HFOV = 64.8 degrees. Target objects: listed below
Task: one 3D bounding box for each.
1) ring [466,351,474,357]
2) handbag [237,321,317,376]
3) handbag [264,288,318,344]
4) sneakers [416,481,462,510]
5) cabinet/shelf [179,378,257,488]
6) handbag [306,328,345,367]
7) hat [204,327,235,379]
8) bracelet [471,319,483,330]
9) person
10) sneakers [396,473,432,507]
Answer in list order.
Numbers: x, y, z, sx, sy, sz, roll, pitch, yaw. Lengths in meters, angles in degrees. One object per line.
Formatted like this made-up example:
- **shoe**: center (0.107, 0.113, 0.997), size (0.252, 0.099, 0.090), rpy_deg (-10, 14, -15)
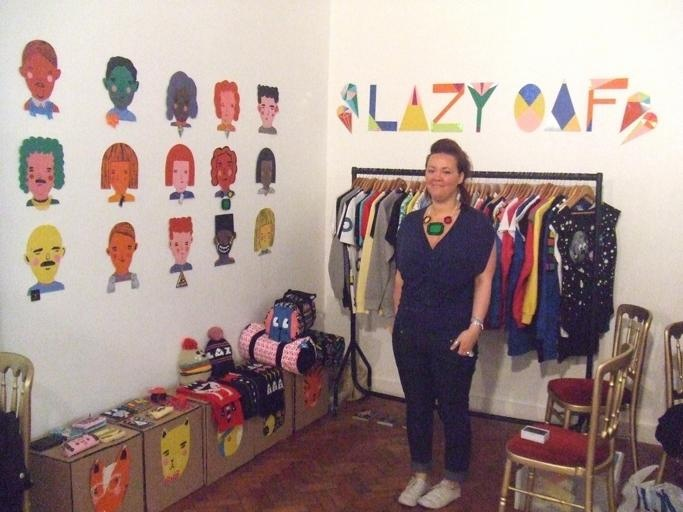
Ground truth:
- **ring**: center (0.709, 0.542, 2.988), size (0.036, 0.018, 0.055), rpy_deg (0, -1, 22)
- **handbag**: center (-0.473, 0.664, 3.784), size (0.512, 0.289, 0.287), rpy_deg (12, 8, 28)
- **handbag**: center (-0.362, 0.447, 4.035), size (0.248, 0.376, 0.372), rpy_deg (20, 10, 13)
- **sneakers**: center (0.567, 1.391, 3.176), size (0.259, 0.097, 0.125), rpy_deg (-7, 10, -35)
- **cabinet/shelf**: center (-0.737, 1.011, 3.559), size (0.451, 0.701, 0.636), rpy_deg (-1, 0, 34)
- **handbag**: center (-0.105, 0.692, 4.094), size (0.248, 0.287, 0.105), rpy_deg (3, 21, 33)
- **hat**: center (-0.854, 0.664, 3.676), size (0.081, 0.311, 0.212), rpy_deg (-16, -6, 37)
- **bracelet**: center (0.768, 0.392, 3.018), size (0.067, 0.026, 0.050), rpy_deg (28, -9, -23)
- **person**: center (0.570, 0.409, 3.136), size (0.587, 2.139, 0.401), rpy_deg (4, 11, 16)
- **sneakers**: center (0.443, 1.386, 3.255), size (0.101, 0.120, 0.270), rpy_deg (2, 8, 37)
